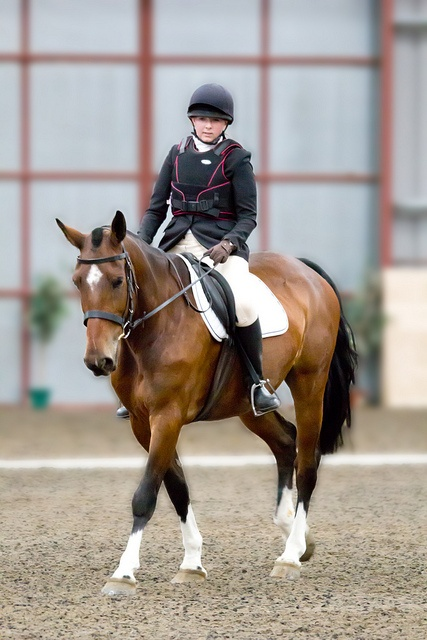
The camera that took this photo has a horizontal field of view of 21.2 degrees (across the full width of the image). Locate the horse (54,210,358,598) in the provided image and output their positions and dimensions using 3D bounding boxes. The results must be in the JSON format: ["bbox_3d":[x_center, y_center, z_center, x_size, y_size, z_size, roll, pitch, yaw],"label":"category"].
[{"bbox_3d":[0.054,0.384,6.103,0.824,1.952,2.220,4,8,28],"label":"horse"}]

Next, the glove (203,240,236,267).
[{"bbox_3d":[0.039,-0.341,5.863,0.098,0.065,0.168,40,36,12],"label":"glove"}]

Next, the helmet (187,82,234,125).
[{"bbox_3d":[-0.013,-1.135,6.039,0.242,0.204,0.183,0,7,-1],"label":"helmet"}]
